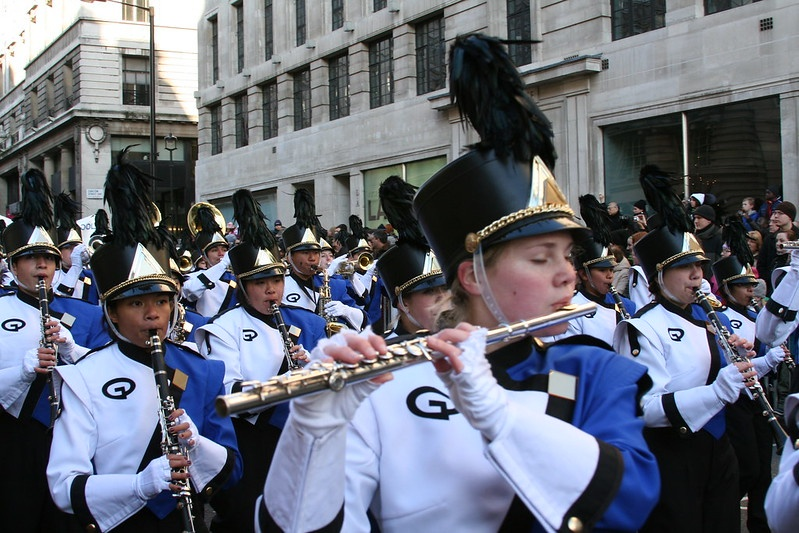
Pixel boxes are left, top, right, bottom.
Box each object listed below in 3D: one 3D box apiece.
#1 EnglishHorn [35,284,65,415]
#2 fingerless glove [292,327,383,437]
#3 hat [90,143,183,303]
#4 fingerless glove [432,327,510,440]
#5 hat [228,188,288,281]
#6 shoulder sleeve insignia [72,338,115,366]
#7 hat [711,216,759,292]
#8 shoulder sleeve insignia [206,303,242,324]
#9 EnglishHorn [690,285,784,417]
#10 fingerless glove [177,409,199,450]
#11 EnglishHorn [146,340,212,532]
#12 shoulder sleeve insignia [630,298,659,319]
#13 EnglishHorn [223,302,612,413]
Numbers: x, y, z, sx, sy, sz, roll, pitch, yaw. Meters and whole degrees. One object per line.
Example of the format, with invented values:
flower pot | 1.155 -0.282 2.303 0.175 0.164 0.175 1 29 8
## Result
EnglishHorn | -3.665 0.906 10.240 0.225 1.310 0.202 -20 -28 26
fingerless glove | -0.410 0.865 7.173 0.787 0.234 0.603 -50 -21 12
hat | -2.856 -0.406 9.628 0.861 1.478 0.602 11 -8 -29
fingerless glove | 0.555 0.838 7.378 0.344 0.850 0.517 -28 -1 3
hat | -1.819 -0.303 11.992 0.531 1.261 0.730 -2 -20 -37
shoulder sleeve insignia | -3.090 0.864 9.906 0.493 0.078 0.079 -30 -24 -18
hat | 4.243 -0.179 12.387 0.396 0.930 0.580 -8 3 -38
shoulder sleeve insignia | -2.121 0.572 11.906 0.375 0.067 0.052 -34 42 -32
EnglishHorn | 3.549 0.861 10.341 0.315 1.765 0.362 -40 -26 25
fingerless glove | -1.925 1.484 8.898 0.103 0.319 0.245 -22 -6 24
EnglishHorn | -2.109 1.434 8.996 0.334 2.004 0.354 -21 -21 20
shoulder sleeve insignia | 2.580 0.426 10.101 0.404 0.111 0.067 -35 1 -14
EnglishHorn | 0.097 0.765 8.029 2.468 0.286 0.359 -19 -16 -18
